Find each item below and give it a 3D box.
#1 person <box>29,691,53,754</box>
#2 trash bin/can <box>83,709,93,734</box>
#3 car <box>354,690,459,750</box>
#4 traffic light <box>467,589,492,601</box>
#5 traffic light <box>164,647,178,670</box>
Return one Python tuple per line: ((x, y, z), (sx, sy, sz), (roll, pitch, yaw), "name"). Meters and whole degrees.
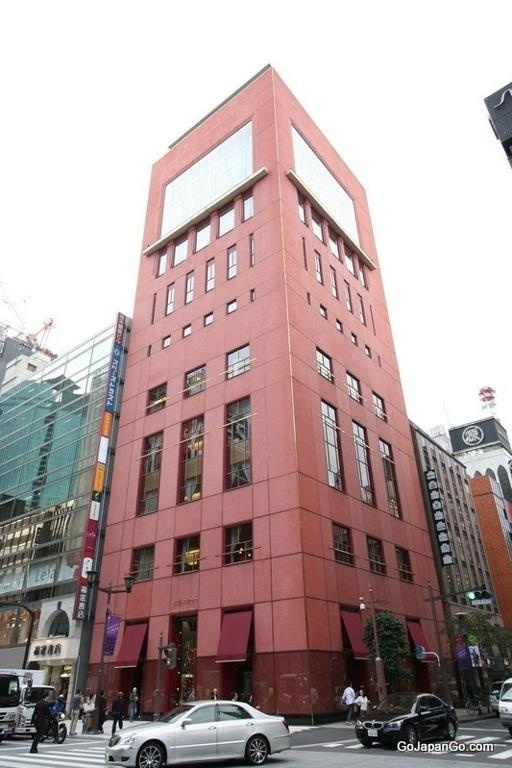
((-6.655, 10.568, 15.125), (0.544, 1.367, 2.695), (9, -32, -18), "person")
((-7.875, 15.705, 22.987), (0.480, 1.130, 1.155), (7, -30, -14), "trash bin/can")
((4.428, 9.862, 14.350), (1.553, 1.235, 3.403), (-26, -38, 36), "car")
((9.432, 8.859, 20.574), (0.510, 0.519, 1.717), (-5, -30, 7), "traffic light")
((-3.561, 11.458, 20.538), (0.389, 0.778, 0.857), (8, -31, -16), "traffic light")
